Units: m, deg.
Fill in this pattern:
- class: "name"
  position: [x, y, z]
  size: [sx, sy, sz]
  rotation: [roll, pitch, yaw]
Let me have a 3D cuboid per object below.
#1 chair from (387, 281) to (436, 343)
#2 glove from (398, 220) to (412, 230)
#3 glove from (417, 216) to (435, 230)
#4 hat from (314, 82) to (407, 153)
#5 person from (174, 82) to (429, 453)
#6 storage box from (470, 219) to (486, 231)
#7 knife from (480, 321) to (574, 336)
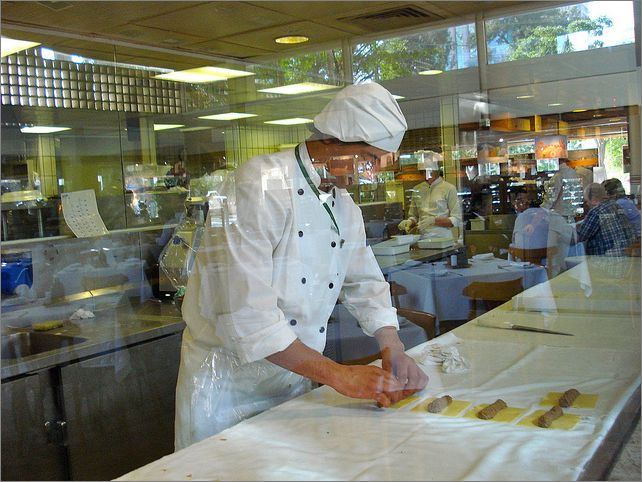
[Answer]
- class: "chair"
  position: [0.380, 0.262, 1.858]
  size: [0.199, 0.251, 0.188]
  rotation: [-1, -2, -22]
- class: "glove"
  position: [0.334, -0.063, 2.012]
  size: [0.037, 0.033, 0.118]
  rotation: [-6, 1, 14]
- class: "glove"
  position: [0.536, -0.089, 2.532]
  size: [0.071, 0.033, 0.096]
  rotation: [-8, 1, 7]
- class: "hat"
  position: [0.091, -0.278, 1.115]
  size: [0.179, 0.110, 0.140]
  rotation: [-2, 24, 1]
- class: "person"
  position: [-0.056, 0.079, 1.149]
  size: [0.587, 0.870, 0.417]
  rotation: [-4, 12, -17]
- class: "storage box"
  position: [0.951, -0.099, 3.036]
  size: [0.083, 0.047, 0.080]
  rotation: [1, 10, 18]
- class: "knife"
  position: [0.611, 0.266, 1.506]
  size: [0.270, 0.013, 0.084]
  rotation: [4, 11, 23]
